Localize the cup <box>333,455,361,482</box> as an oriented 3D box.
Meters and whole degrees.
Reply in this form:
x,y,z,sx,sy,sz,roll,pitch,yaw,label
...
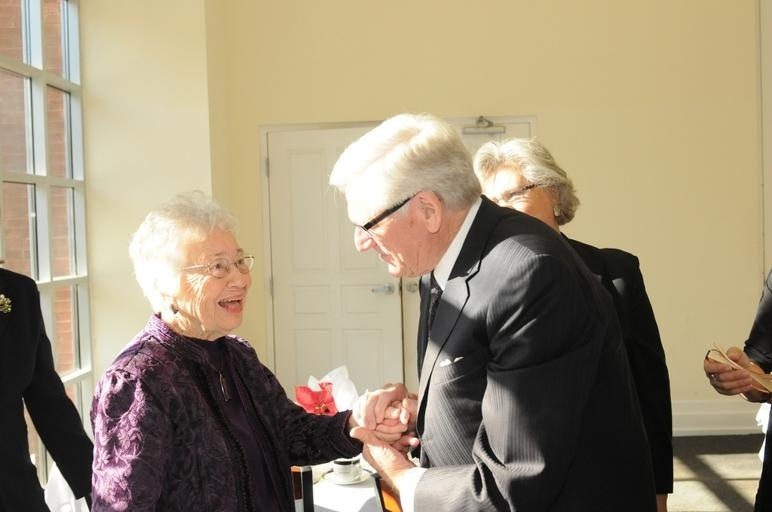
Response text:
x,y,z,sx,sy,sz,roll,pitch,yaw,label
-0.202,1.151,3.993,0.145,0.115,0.121,1,-14,0,cup

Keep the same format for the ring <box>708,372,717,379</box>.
x,y,z,sx,sy,sz,roll,pitch,yaw,label
1.749,0.640,3.931,0.025,0.015,0.037,9,-18,6,ring
